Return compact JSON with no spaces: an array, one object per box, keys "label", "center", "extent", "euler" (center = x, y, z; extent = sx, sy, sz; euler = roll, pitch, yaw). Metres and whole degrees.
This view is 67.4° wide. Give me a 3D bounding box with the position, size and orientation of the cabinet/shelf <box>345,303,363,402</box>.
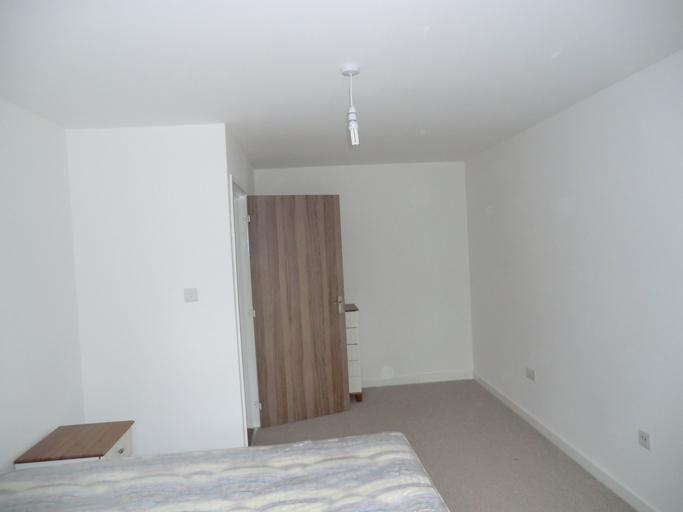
[{"label":"cabinet/shelf","center":[0.130,1.059,5.519],"extent":[0.150,0.986,0.411],"euler":[-3,8,1]}]
